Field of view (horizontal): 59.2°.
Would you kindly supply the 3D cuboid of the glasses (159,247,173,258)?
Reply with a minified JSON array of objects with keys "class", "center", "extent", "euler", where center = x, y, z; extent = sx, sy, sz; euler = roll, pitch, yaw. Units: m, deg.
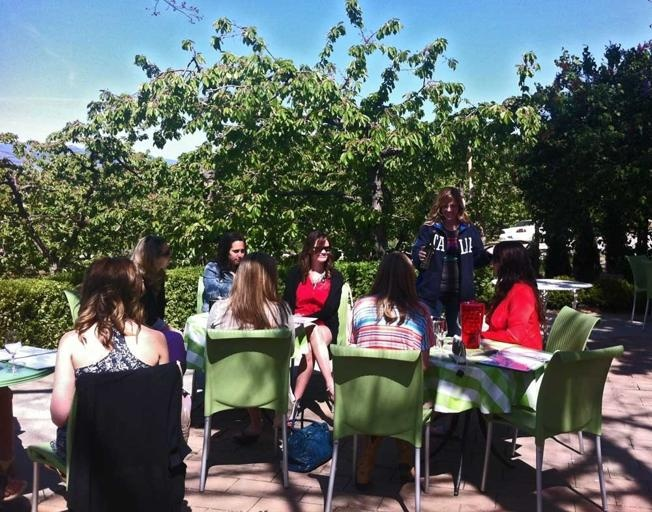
[{"class":"glasses","center":[-1.387,-0.043,4.954],"extent":[0.071,0.073,0.072],"euler":[-17,2,-17]}]

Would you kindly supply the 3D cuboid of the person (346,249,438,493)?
[{"class":"person","center":[0.478,0.845,4.212],"extent":[0.644,1.762,0.485],"euler":[0,2,11]}]

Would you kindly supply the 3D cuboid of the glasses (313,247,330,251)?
[{"class":"glasses","center":[-0.037,-0.078,5.742],"extent":[0.159,0.045,0.048],"euler":[-1,1,-15]}]

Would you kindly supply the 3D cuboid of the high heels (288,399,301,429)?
[{"class":"high heels","center":[-0.298,1.477,5.358],"extent":[0.066,0.307,0.077],"euler":[8,10,4]}]

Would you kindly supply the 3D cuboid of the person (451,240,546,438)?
[{"class":"person","center":[1.683,0.414,5.507],"extent":[0.765,1.554,0.820],"euler":[1,-2,24]}]

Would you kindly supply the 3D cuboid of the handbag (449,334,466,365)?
[{"class":"handbag","center":[0.975,0.684,4.205],"extent":[0.048,0.095,0.156],"euler":[-12,9,3]}]

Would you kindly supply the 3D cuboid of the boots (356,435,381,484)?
[{"class":"boots","center":[0.336,1.582,4.446],"extent":[0.117,0.453,0.281],"euler":[7,5,24]}]

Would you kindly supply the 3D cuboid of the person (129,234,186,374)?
[{"class":"person","center":[-1.518,0.442,5.128],"extent":[0.631,1.313,0.490],"euler":[0,21,-31]}]
